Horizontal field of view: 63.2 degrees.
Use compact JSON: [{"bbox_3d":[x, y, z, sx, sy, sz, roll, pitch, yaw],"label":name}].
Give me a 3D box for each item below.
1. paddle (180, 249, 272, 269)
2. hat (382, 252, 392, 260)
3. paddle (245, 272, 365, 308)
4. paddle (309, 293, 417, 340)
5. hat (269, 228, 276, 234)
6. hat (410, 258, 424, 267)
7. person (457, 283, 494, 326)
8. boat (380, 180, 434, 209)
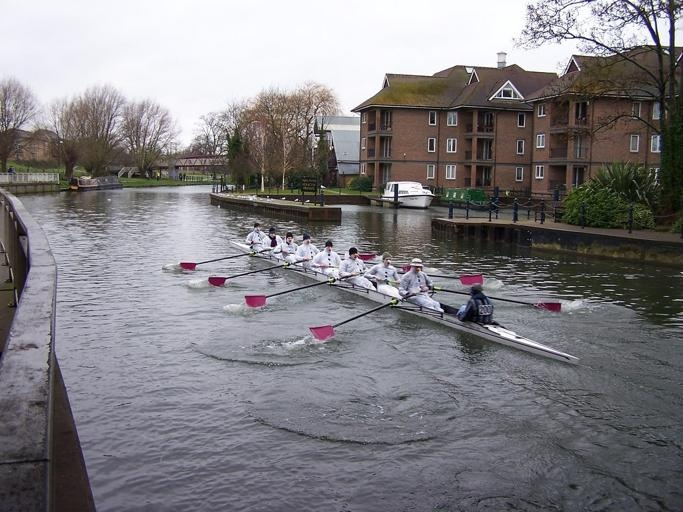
[{"bbox_3d":[-4.627,0.146,22.541,3.989,0.373,0.215,-10,8,-29],"label":"paddle"},{"bbox_3d":[1.365,-0.015,16.603,0.259,0.170,0.300,-1,-11,0],"label":"hat"},{"bbox_3d":[-1.037,1.085,17.102,4.234,0.173,0.455,-8,42,-30],"label":"paddle"},{"bbox_3d":[0.464,1.333,12.306,2.397,0.288,0.412,-22,-17,12],"label":"paddle"},{"bbox_3d":[-2.829,-1.029,22.805,0.233,0.213,0.270,16,1,-17],"label":"hat"},{"bbox_3d":[2.007,0.158,14.912,0.293,0.138,0.298,1,-5,-3],"label":"hat"},{"bbox_3d":[3.172,1.108,13.039,0.561,0.903,0.814,-2,7,-30],"label":"person"},{"bbox_3d":[6.138,-5.874,53.665,4.454,2.598,2.584,7,8,44],"label":"boat"}]
